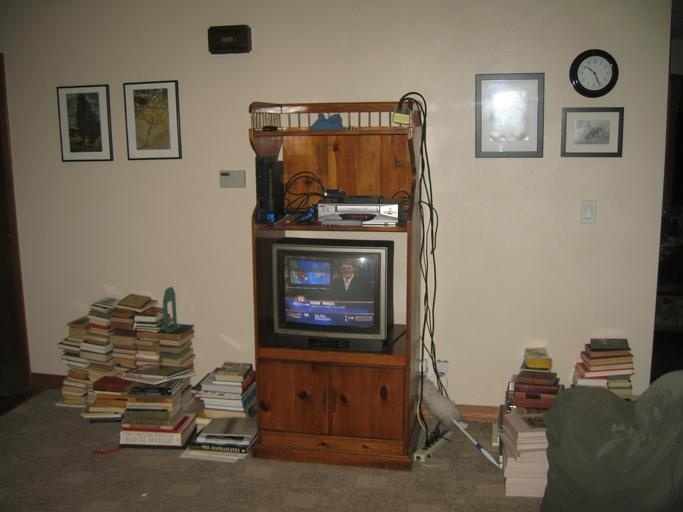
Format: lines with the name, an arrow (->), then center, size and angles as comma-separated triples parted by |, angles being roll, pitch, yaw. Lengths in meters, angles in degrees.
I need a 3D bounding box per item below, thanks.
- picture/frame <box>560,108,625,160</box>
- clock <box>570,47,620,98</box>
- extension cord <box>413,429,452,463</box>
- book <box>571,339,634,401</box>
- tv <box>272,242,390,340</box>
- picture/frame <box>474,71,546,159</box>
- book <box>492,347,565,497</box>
picture/frame -> 1.612, -0.792, 3.806 | 0.294, 0.266, 0.022 | 3, 8, 4
clock -> 1.599, -1.161, 3.751 | 0.287, 0.314, 0.027 | 0, 8, 9
extension cord -> 0.567, 1.183, 3.736 | 0.089, 0.069, 0.388 | 0, 2, 34
book -> 1.685, 0.701, 3.844 | 0.340, 0.337, 0.242 | 3, 11, 21
tv -> -0.008, 0.166, 3.801 | 0.905, 0.831, 0.514 | 1, 5, 12
picture/frame -> 1.101, -0.932, 3.848 | 0.514, 0.650, 0.046 | 0, 8, 7
book -> 1.119, 0.996, 3.531 | 0.262, 0.245, 0.707 | 1, 7, 5
